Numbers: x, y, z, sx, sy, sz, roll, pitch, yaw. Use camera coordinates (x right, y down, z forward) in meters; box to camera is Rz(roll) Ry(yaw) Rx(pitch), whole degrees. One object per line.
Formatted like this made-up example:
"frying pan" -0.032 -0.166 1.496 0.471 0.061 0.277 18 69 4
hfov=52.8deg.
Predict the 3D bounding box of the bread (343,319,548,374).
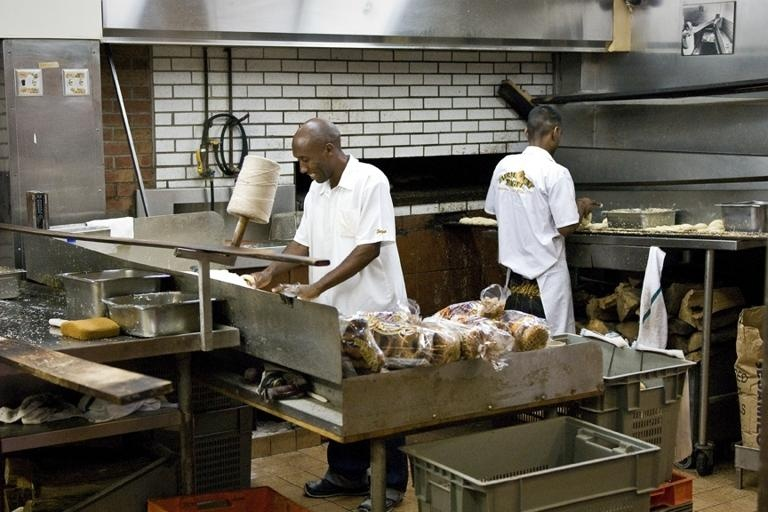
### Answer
"bread" 0.273 0.381 3.411 0.951 0.270 0.170 -3 7 -14

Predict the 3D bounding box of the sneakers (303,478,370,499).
"sneakers" -0.272 1.373 4.624 0.404 0.159 0.142 2 -2 -1

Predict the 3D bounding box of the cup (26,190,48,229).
"cup" -2.307 -0.310 5.140 0.137 0.235 0.194 -5 8 -24

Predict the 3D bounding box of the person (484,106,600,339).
"person" 1.038 -0.250 5.349 0.315 1.540 0.614 -7 9 -34

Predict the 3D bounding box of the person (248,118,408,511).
"person" -0.291 0.359 4.242 0.821 2.208 0.802 3 8 27
